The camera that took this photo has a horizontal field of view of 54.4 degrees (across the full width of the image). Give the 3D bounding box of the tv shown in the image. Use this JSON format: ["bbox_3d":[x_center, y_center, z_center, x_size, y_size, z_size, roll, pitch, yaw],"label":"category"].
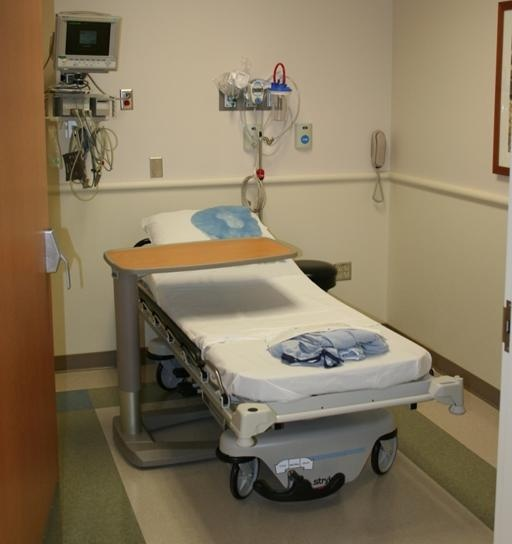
[{"bbox_3d":[-0.891,-1.205,2.614,0.276,0.305,0.322,-2,29,-17],"label":"tv"}]

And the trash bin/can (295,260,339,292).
[{"bbox_3d":[0.399,-0.022,3.253,0.184,0.199,0.204,-2,20,-16],"label":"trash bin/can"}]

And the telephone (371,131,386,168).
[{"bbox_3d":[0.889,-0.881,3.585,0.097,0.278,0.044,1,4,-16],"label":"telephone"}]

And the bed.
[{"bbox_3d":[-0.066,0.198,2.385,0.989,0.877,1.588,-4,19,-19],"label":"bed"}]
